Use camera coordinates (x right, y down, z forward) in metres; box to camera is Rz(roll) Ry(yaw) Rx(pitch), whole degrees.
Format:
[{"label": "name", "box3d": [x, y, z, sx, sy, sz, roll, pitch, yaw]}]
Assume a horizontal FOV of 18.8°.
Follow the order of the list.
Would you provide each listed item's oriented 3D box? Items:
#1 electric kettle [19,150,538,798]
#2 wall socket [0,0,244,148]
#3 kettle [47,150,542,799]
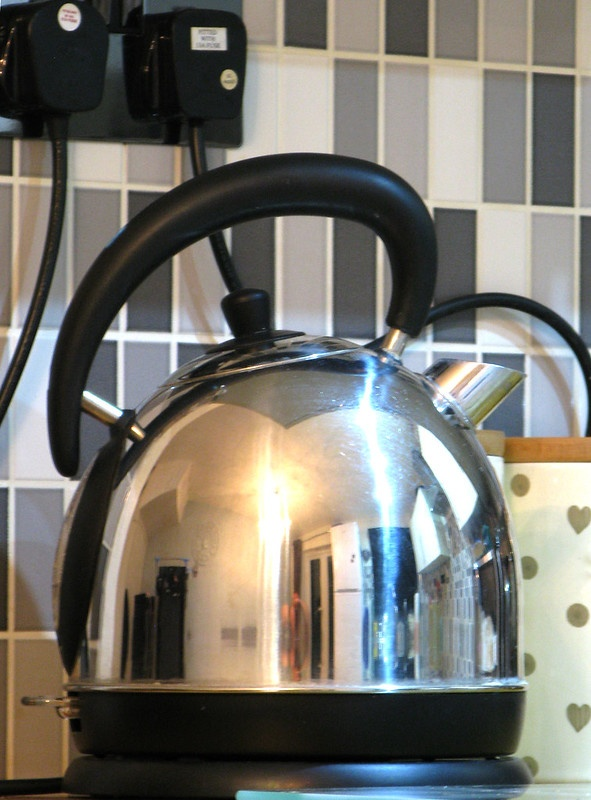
[{"label": "electric kettle", "box3d": [-0.070, 0.066, 1.047, 0.299, 0.377, 0.265, 0, -7, -15]}, {"label": "wall socket", "box3d": [-0.110, -0.220, 1.154, 0.162, 0.097, 0.063, 3, -18, -12]}, {"label": "kettle", "box3d": [-0.068, 0.054, 1.044, 0.295, 0.372, 0.263, -1, -7, -15]}]
